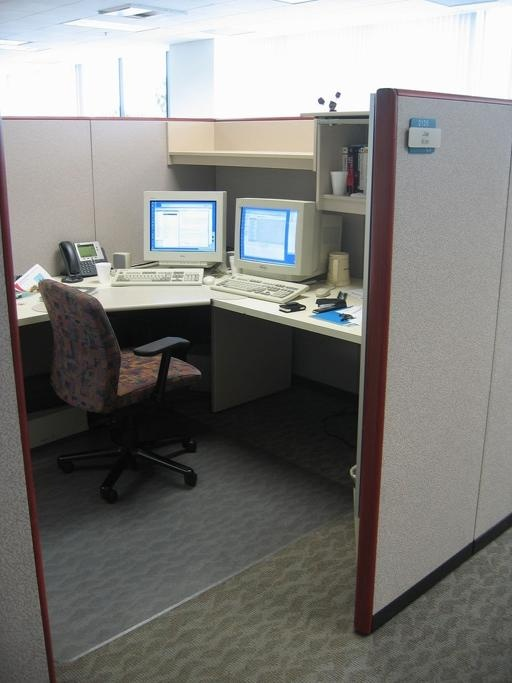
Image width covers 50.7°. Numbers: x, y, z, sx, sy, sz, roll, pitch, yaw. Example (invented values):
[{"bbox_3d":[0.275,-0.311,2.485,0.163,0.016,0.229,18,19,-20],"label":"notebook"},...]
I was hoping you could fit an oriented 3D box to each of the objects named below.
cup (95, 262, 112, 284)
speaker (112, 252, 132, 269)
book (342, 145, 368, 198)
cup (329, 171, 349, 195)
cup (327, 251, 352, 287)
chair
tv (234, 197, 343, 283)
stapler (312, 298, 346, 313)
[{"bbox_3d":[-0.742,-0.347,2.710,0.098,0.103,0.100,3,17,-1],"label":"cup"},{"bbox_3d":[-0.731,-0.436,2.914,0.090,0.123,0.068,8,20,15],"label":"speaker"},{"bbox_3d":[0.428,-0.753,2.366,0.082,0.216,0.156,0,14,-1],"label":"book"},{"bbox_3d":[0.368,-0.704,2.401,0.101,0.102,0.096,-1,4,0],"label":"cup"},{"bbox_3d":[0.402,-0.343,2.601,0.130,0.152,0.157,5,19,15],"label":"cup"},{"bbox_3d":[-0.501,0.152,2.163,0.597,0.773,0.577,5,12,17],"label":"chair"},{"bbox_3d":[0.105,-0.539,2.736,0.587,0.481,0.421,16,24,42],"label":"tv"},{"bbox_3d":[0.296,-0.149,2.236,0.120,0.042,0.067,-16,23,-29],"label":"stapler"}]
